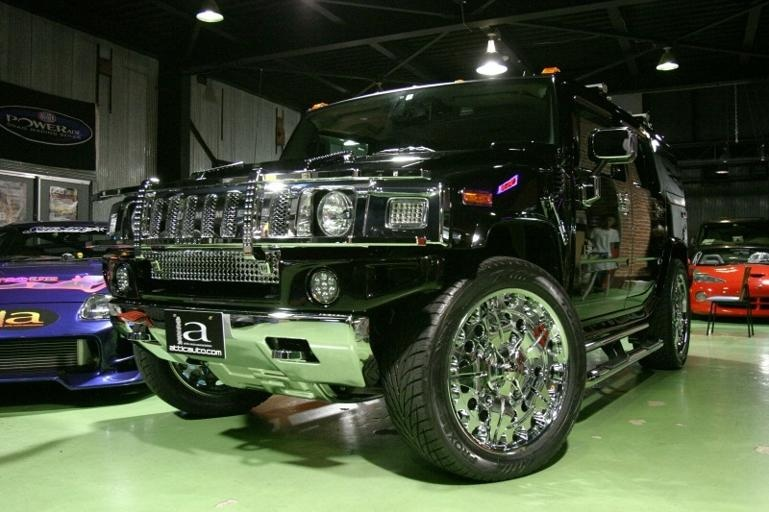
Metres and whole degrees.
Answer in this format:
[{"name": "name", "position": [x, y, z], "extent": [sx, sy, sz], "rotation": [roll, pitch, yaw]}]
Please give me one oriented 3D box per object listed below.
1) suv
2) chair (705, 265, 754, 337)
[{"name": "suv", "position": [0.669, 0.051, 4.393], "extent": [2.533, 1.951, 4.053], "rotation": [-5, -7, 32]}, {"name": "chair", "position": [5.483, 0.629, 8.476], "extent": [0.744, 0.954, 0.728], "rotation": [-6, 8, 21]}]
